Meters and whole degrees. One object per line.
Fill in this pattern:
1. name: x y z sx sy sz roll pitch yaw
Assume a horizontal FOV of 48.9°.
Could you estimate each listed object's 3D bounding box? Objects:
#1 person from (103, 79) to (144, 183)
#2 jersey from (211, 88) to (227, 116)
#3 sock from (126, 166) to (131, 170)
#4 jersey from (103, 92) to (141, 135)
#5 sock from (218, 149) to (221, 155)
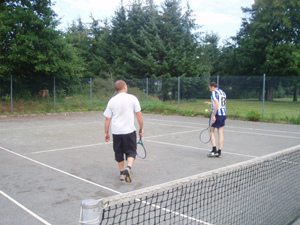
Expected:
1. person: -0.671 0.477 8.350 0.980 2.602 0.790 0 3 -6
2. jersey: 2.235 -0.337 10.859 0.610 0.875 0.442 -3 4 -45
3. sock: -0.531 1.370 8.152 0.102 0.116 0.233 0 3 1
4. jersey: -0.723 -0.049 8.532 1.015 1.064 0.572 0 19 0
5. sock: 2.280 1.275 10.803 0.081 0.195 0.274 1 3 24
